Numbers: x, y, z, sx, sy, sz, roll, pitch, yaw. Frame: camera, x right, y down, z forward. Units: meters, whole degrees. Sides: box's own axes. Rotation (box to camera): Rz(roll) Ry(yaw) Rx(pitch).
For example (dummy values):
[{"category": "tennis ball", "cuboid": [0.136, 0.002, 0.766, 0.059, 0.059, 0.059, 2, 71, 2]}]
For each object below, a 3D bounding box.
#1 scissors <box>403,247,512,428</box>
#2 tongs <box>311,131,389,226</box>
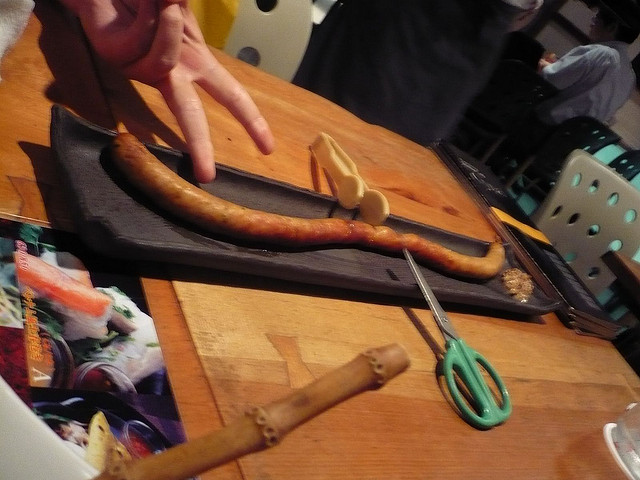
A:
[{"category": "scissors", "cuboid": [0.256, 0.180, 1.019, 0.184, 0.032, 0.388, 4, 55, -47]}, {"category": "tongs", "cuboid": [0.043, -0.167, 1.214, 0.103, 0.083, 0.383, 25, 22, -35]}]
